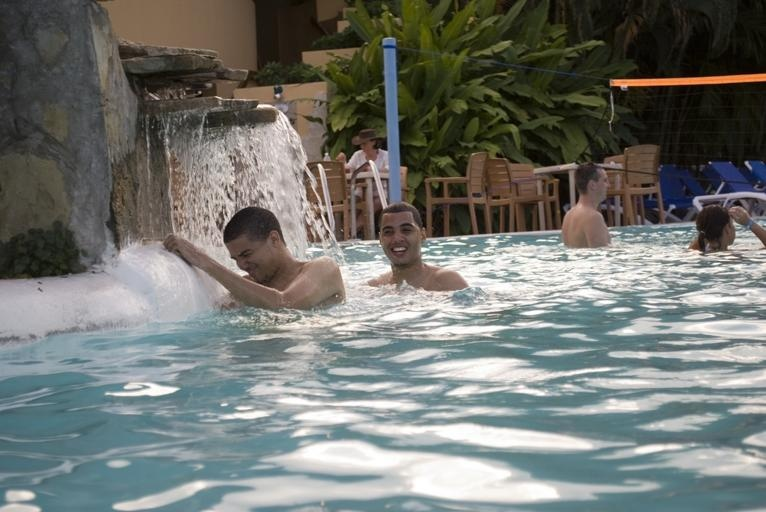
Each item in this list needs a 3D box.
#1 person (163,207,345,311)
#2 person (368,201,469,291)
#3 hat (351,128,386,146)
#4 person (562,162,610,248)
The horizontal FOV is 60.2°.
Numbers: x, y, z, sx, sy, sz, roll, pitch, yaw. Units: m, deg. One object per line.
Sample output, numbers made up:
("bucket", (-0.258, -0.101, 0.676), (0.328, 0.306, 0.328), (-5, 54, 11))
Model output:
("person", (-0.774, 0.050, 4.133), (0.670, 0.446, 0.914), (-14, -13, 31))
("person", (0.184, 0.005, 4.670), (1.004, 0.652, 0.410), (-4, -7, 20))
("hat", (-0.112, -1.873, 10.185), (0.498, 0.160, 0.462), (-13, 14, -34))
("person", (2.033, -0.510, 6.564), (0.443, 0.816, 0.587), (1, 13, 11))
